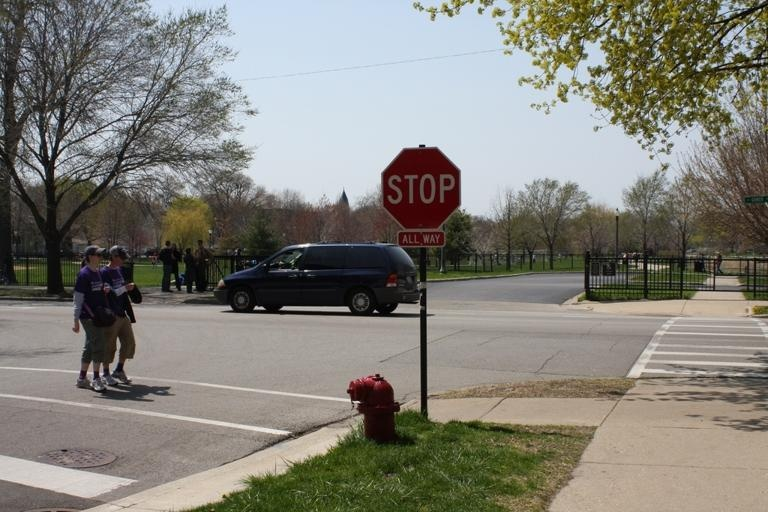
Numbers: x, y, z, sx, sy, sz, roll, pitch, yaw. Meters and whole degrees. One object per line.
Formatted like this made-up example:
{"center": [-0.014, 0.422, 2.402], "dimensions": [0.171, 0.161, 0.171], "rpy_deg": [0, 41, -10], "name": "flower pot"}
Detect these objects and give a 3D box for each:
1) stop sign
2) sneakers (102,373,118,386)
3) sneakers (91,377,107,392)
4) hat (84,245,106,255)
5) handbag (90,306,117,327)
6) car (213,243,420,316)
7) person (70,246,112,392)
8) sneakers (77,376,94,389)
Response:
{"center": [0.548, -1.022, 11.281], "dimensions": [1.518, 1.622, 0.190], "rpy_deg": [2, 7, 0], "name": "stop sign"}
{"center": [-5.057, 2.275, 13.912], "dimensions": [0.163, 0.142, 0.314], "rpy_deg": [-9, 15, -41], "name": "sneakers"}
{"center": [-5.157, 2.302, 13.609], "dimensions": [0.198, 0.218, 0.322], "rpy_deg": [-4, 7, -32], "name": "sneakers"}
{"center": [-5.353, -0.107, 13.960], "dimensions": [0.366, 0.144, 0.231], "rpy_deg": [-7, 9, -33], "name": "hat"}
{"center": [-5.128, 1.074, 13.886], "dimensions": [0.283, 0.519, 0.521], "rpy_deg": [-3, 2, 18], "name": "handbag"}
{"center": [-1.866, 0.671, 24.355], "dimensions": [5.170, 1.933, 2.557], "rpy_deg": [2, -1, 12], "name": "car"}
{"center": [-5.364, 1.100, 13.841], "dimensions": [0.663, 2.562, 0.918], "rpy_deg": [-5, 7, -36], "name": "person"}
{"center": [-5.507, 2.306, 13.799], "dimensions": [0.259, 0.172, 0.425], "rpy_deg": [-3, 7, -24], "name": "sneakers"}
